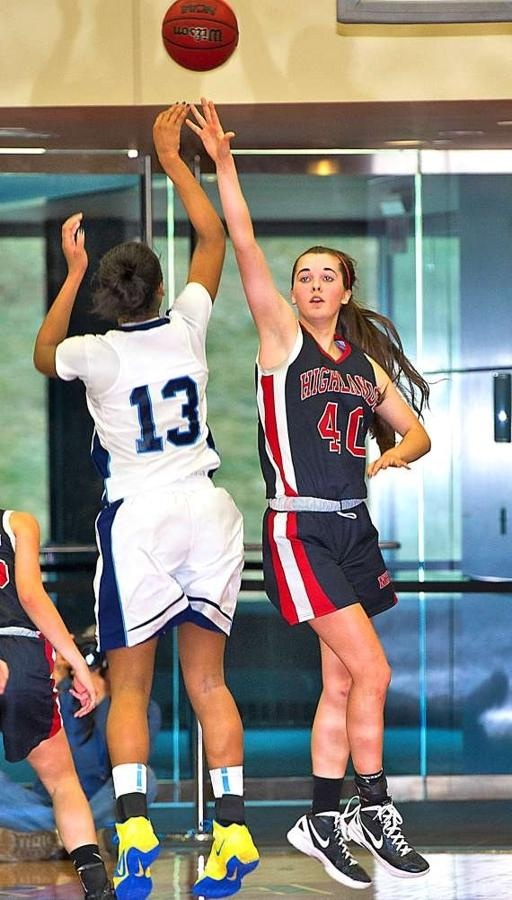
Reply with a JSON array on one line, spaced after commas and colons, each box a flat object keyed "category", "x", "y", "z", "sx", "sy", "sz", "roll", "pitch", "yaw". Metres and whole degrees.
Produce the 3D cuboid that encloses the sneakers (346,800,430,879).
[{"category": "sneakers", "x": 0.326, "y": 0.946, "z": 2.237, "sx": 0.090, "sy": 0.130, "sz": 0.277, "roll": -10, "pitch": 11, "yaw": -31}]
